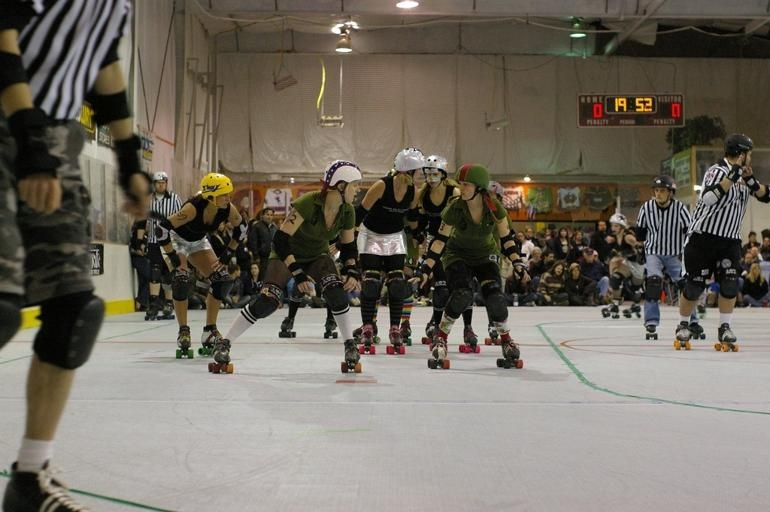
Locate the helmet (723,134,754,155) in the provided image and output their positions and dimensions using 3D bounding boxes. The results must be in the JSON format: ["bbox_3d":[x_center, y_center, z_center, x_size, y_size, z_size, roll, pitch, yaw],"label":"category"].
[{"bbox_3d":[3.412,-1.062,6.665,0.268,0.257,0.206,-14,12,-16],"label":"helmet"}]

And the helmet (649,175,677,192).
[{"bbox_3d":[3.181,-0.851,7.847,0.192,0.218,0.265,11,17,44],"label":"helmet"}]

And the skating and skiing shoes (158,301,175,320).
[{"bbox_3d":[-3.357,0.864,10.708,0.194,0.248,0.536,1,-8,-5],"label":"skating and skiing shoes"}]

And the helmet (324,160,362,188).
[{"bbox_3d":[-0.310,-0.647,5.347,0.263,0.215,0.190,-4,14,0],"label":"helmet"}]

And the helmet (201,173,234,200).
[{"bbox_3d":[-1.481,-0.634,6.086,0.252,0.223,0.360,0,2,-19],"label":"helmet"}]
